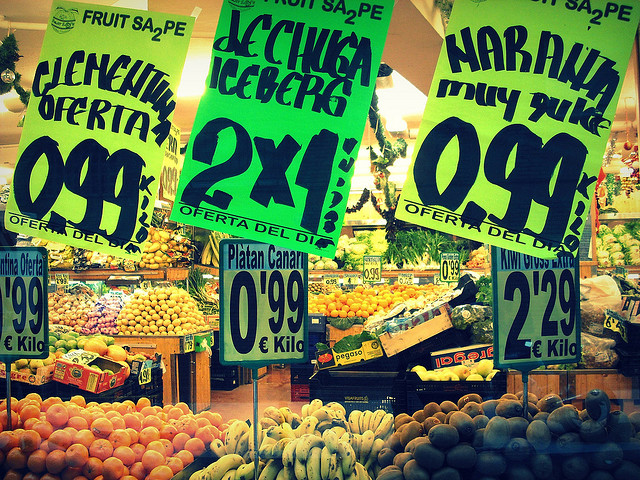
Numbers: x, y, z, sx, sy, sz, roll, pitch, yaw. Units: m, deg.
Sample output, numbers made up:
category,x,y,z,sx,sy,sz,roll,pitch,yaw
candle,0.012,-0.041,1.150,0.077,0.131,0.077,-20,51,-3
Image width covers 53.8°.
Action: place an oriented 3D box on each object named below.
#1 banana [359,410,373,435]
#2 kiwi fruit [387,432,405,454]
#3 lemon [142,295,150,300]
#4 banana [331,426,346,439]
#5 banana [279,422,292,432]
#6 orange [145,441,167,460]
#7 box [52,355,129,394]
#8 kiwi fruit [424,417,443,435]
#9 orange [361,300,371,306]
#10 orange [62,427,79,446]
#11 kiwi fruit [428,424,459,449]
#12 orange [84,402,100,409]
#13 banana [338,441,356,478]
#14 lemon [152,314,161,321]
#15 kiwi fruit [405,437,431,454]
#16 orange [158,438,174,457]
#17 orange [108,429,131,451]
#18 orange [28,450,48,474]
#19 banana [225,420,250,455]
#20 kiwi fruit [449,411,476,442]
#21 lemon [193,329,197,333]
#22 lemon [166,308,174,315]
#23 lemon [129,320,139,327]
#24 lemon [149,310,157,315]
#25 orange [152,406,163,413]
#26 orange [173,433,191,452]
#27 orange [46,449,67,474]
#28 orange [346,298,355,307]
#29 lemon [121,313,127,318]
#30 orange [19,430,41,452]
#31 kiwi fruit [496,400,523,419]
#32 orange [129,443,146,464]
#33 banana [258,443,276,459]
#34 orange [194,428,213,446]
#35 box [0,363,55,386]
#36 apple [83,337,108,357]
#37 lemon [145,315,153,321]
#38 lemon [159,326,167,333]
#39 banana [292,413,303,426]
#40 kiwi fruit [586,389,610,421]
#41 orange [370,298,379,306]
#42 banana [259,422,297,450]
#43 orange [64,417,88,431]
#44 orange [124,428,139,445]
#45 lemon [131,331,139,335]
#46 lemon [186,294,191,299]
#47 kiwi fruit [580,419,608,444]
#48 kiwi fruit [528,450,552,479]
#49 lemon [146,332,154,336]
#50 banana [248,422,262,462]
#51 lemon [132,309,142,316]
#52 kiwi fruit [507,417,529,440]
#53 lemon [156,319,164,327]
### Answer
category,x,y,z,sx,sy,sz,roll,pitch,yaw
banana,0.237,0.951,3.298,0.066,0.102,0.027,-11,-24,42
kiwi fruit,0.396,1.028,3.192,0.064,0.099,0.057,10,22,-1
lemon,-1.687,0.553,6.123,0.039,0.045,0.039,-18,9,-27
banana,0.103,0.966,3.168,0.040,0.048,0.047,8,27,-22
banana,-0.173,0.956,3.236,0.065,0.024,0.077,5,-1,0
orange,-0.854,1.090,3.323,0.072,0.098,0.079,-27,-29,4
box,-1.626,0.944,4.492,0.344,0.173,0.398,14,0,10
kiwi fruit,0.564,0.920,3.167,0.070,0.079,0.084,-11,19,-28
orange,0.483,0.654,6.589,0.096,0.044,0.076,5,-1,11
orange,-1.315,1.035,3.323,0.055,0.068,0.074,-12,-29,4
kiwi fruit,0.594,0.940,3.033,0.116,0.106,0.093,3,9,-24
orange,-1.341,0.967,3.711,0.056,0.038,0.062,-11,-12,-1
banana,0.133,1.061,3.073,0.084,0.159,0.050,-12,12,-19
lemon,-1.541,0.721,5.940,0.051,0.047,0.046,9,43,5
kiwi fruit,0.469,0.996,3.098,0.066,0.060,0.095,-9,-6,-2
orange,-0.814,1.094,3.351,0.063,0.090,0.064,-3,1,-36
orange,-1.049,1.047,3.321,0.081,0.095,0.088,-13,-5,29
orange,-1.462,1.149,3.272,0.094,0.133,0.092,12,-22,-42
banana,-0.435,1.014,3.245,0.039,0.129,0.134,9,33,21
kiwi fruit,0.720,0.917,3.098,0.119,0.100,0.088,-28,8,-29
lemon,-1.208,0.871,6.081,0.019,0.022,0.022,5,37,-8
lemon,-1.421,0.677,6.005,0.045,0.057,0.050,-10,-14,9
lemon,-1.757,0.781,5.923,0.048,0.046,0.042,6,6,4
lemon,-1.580,0.679,5.991,0.041,0.027,0.043,2,3,39
orange,-0.932,0.979,3.625,0.032,0.039,0.043,11,-23,18
orange,-0.737,1.069,3.408,0.077,0.095,0.081,-29,47,-16
orange,-1.362,1.144,3.281,0.094,0.145,0.100,10,-27,-31
orange,0.314,0.648,6.578,0.053,0.077,0.060,-1,8,5
lemon,-1.852,0.713,5.976,0.032,0.038,0.036,-1,5,3
orange,-1.517,1.056,3.304,0.086,0.107,0.109,-11,-6,4
kiwi fruit,0.954,0.854,3.184,0.093,0.088,0.075,-8,-7,27
orange,-0.944,1.106,3.295,0.066,0.081,0.088,9,4,6
banana,-0.266,1.051,3.136,0.037,0.080,0.062,44,-2,-27
orange,-0.623,1.056,3.373,0.067,0.099,0.079,-4,-20,-10
box,-1.998,0.927,4.381,0.304,0.139,0.061,5,-2,2
apple,-1.684,0.774,4.718,0.134,0.150,0.130,0,-1,-41
lemon,-1.603,0.731,5.933,0.044,0.044,0.042,9,25,9
lemon,-1.453,0.825,5.843,0.044,0.066,0.049,2,-5,21
banana,-0.121,0.946,3.330,0.035,0.059,0.038,-41,1,2
kiwi fruit,1.351,0.803,3.066,0.107,0.140,0.058,4,-2,17
orange,0.570,0.641,6.607,0.054,0.077,0.060,-3,5,21
banana,-0.214,0.974,3.187,0.115,0.036,0.120,15,28,42
orange,-1.297,0.981,3.377,0.081,0.071,0.068,20,-31,1
orange,-0.994,1.039,3.353,0.060,0.086,0.062,-5,0,44
lemon,-1.715,0.861,5.863,0.040,0.038,0.034,-6,-10,4
lemon,-1.356,0.576,6.538,0.054,0.056,0.049,6,-12,-10
kiwi fruit,1.322,0.924,3.030,0.139,0.112,0.034,5,-3,-6
kiwi fruit,1.059,1.079,3.030,0.098,0.118,0.058,21,-8,1
lemon,-1.569,0.868,5.849,0.060,0.021,0.025,5,-1,3
banana,-0.345,1.030,3.222,0.050,0.231,0.067,8,-12,8
lemon,-1.742,0.679,5.980,0.046,0.030,0.052,15,29,17
kiwi fruit,0.975,0.919,3.091,0.074,0.111,0.082,-7,-7,-1
lemon,-1.496,0.774,5.902,0.041,0.052,0.058,0,-1,-22
